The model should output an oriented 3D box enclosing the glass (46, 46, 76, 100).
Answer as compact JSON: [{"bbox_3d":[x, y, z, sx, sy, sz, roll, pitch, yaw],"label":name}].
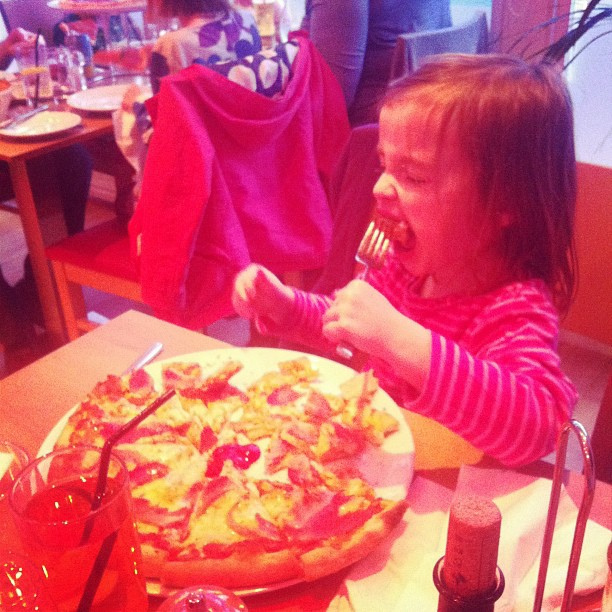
[{"bbox_3d":[-1.275,-1.193,2.806,0.129,0.232,0.128,-23,48,-39],"label":"glass"}]

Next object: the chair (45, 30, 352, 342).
[{"bbox_3d":[-0.282,-0.295,1.989,0.683,1.288,0.747,22,34,40],"label":"chair"}]

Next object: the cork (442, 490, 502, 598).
[{"bbox_3d":[0.124,0.179,0.409,0.040,0.088,0.055,7,24,25],"label":"cork"}]

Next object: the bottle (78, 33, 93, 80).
[{"bbox_3d":[-1.177,-1.334,2.969,0.059,0.259,0.060,2,21,-1],"label":"bottle"}]

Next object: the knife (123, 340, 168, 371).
[{"bbox_3d":[-0.275,0.075,0.956,0.020,0.013,0.149,35,23,-5],"label":"knife"}]

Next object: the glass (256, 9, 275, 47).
[{"bbox_3d":[-0.222,-1.611,3.170,0.110,0.194,0.145,-7,22,-8],"label":"glass"}]
